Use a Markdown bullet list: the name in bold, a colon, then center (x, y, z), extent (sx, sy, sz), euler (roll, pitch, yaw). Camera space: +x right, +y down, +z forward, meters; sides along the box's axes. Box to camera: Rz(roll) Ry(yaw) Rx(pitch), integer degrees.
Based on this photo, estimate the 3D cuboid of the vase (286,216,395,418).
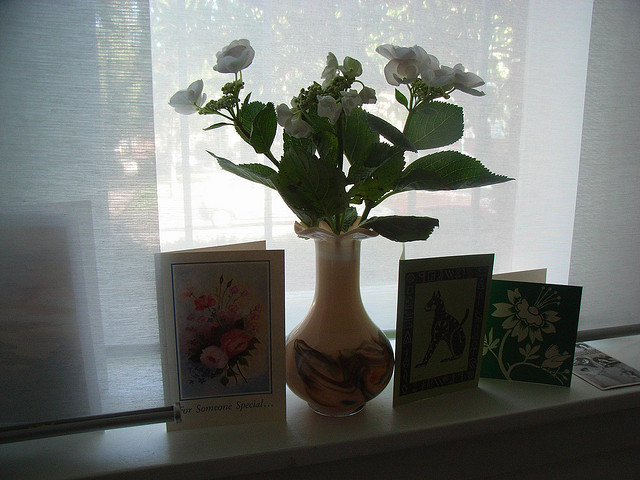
- **vase**: center (0.036, 0.150, 1.059), extent (0.267, 0.389, 0.253), euler (-3, 6, -21)
